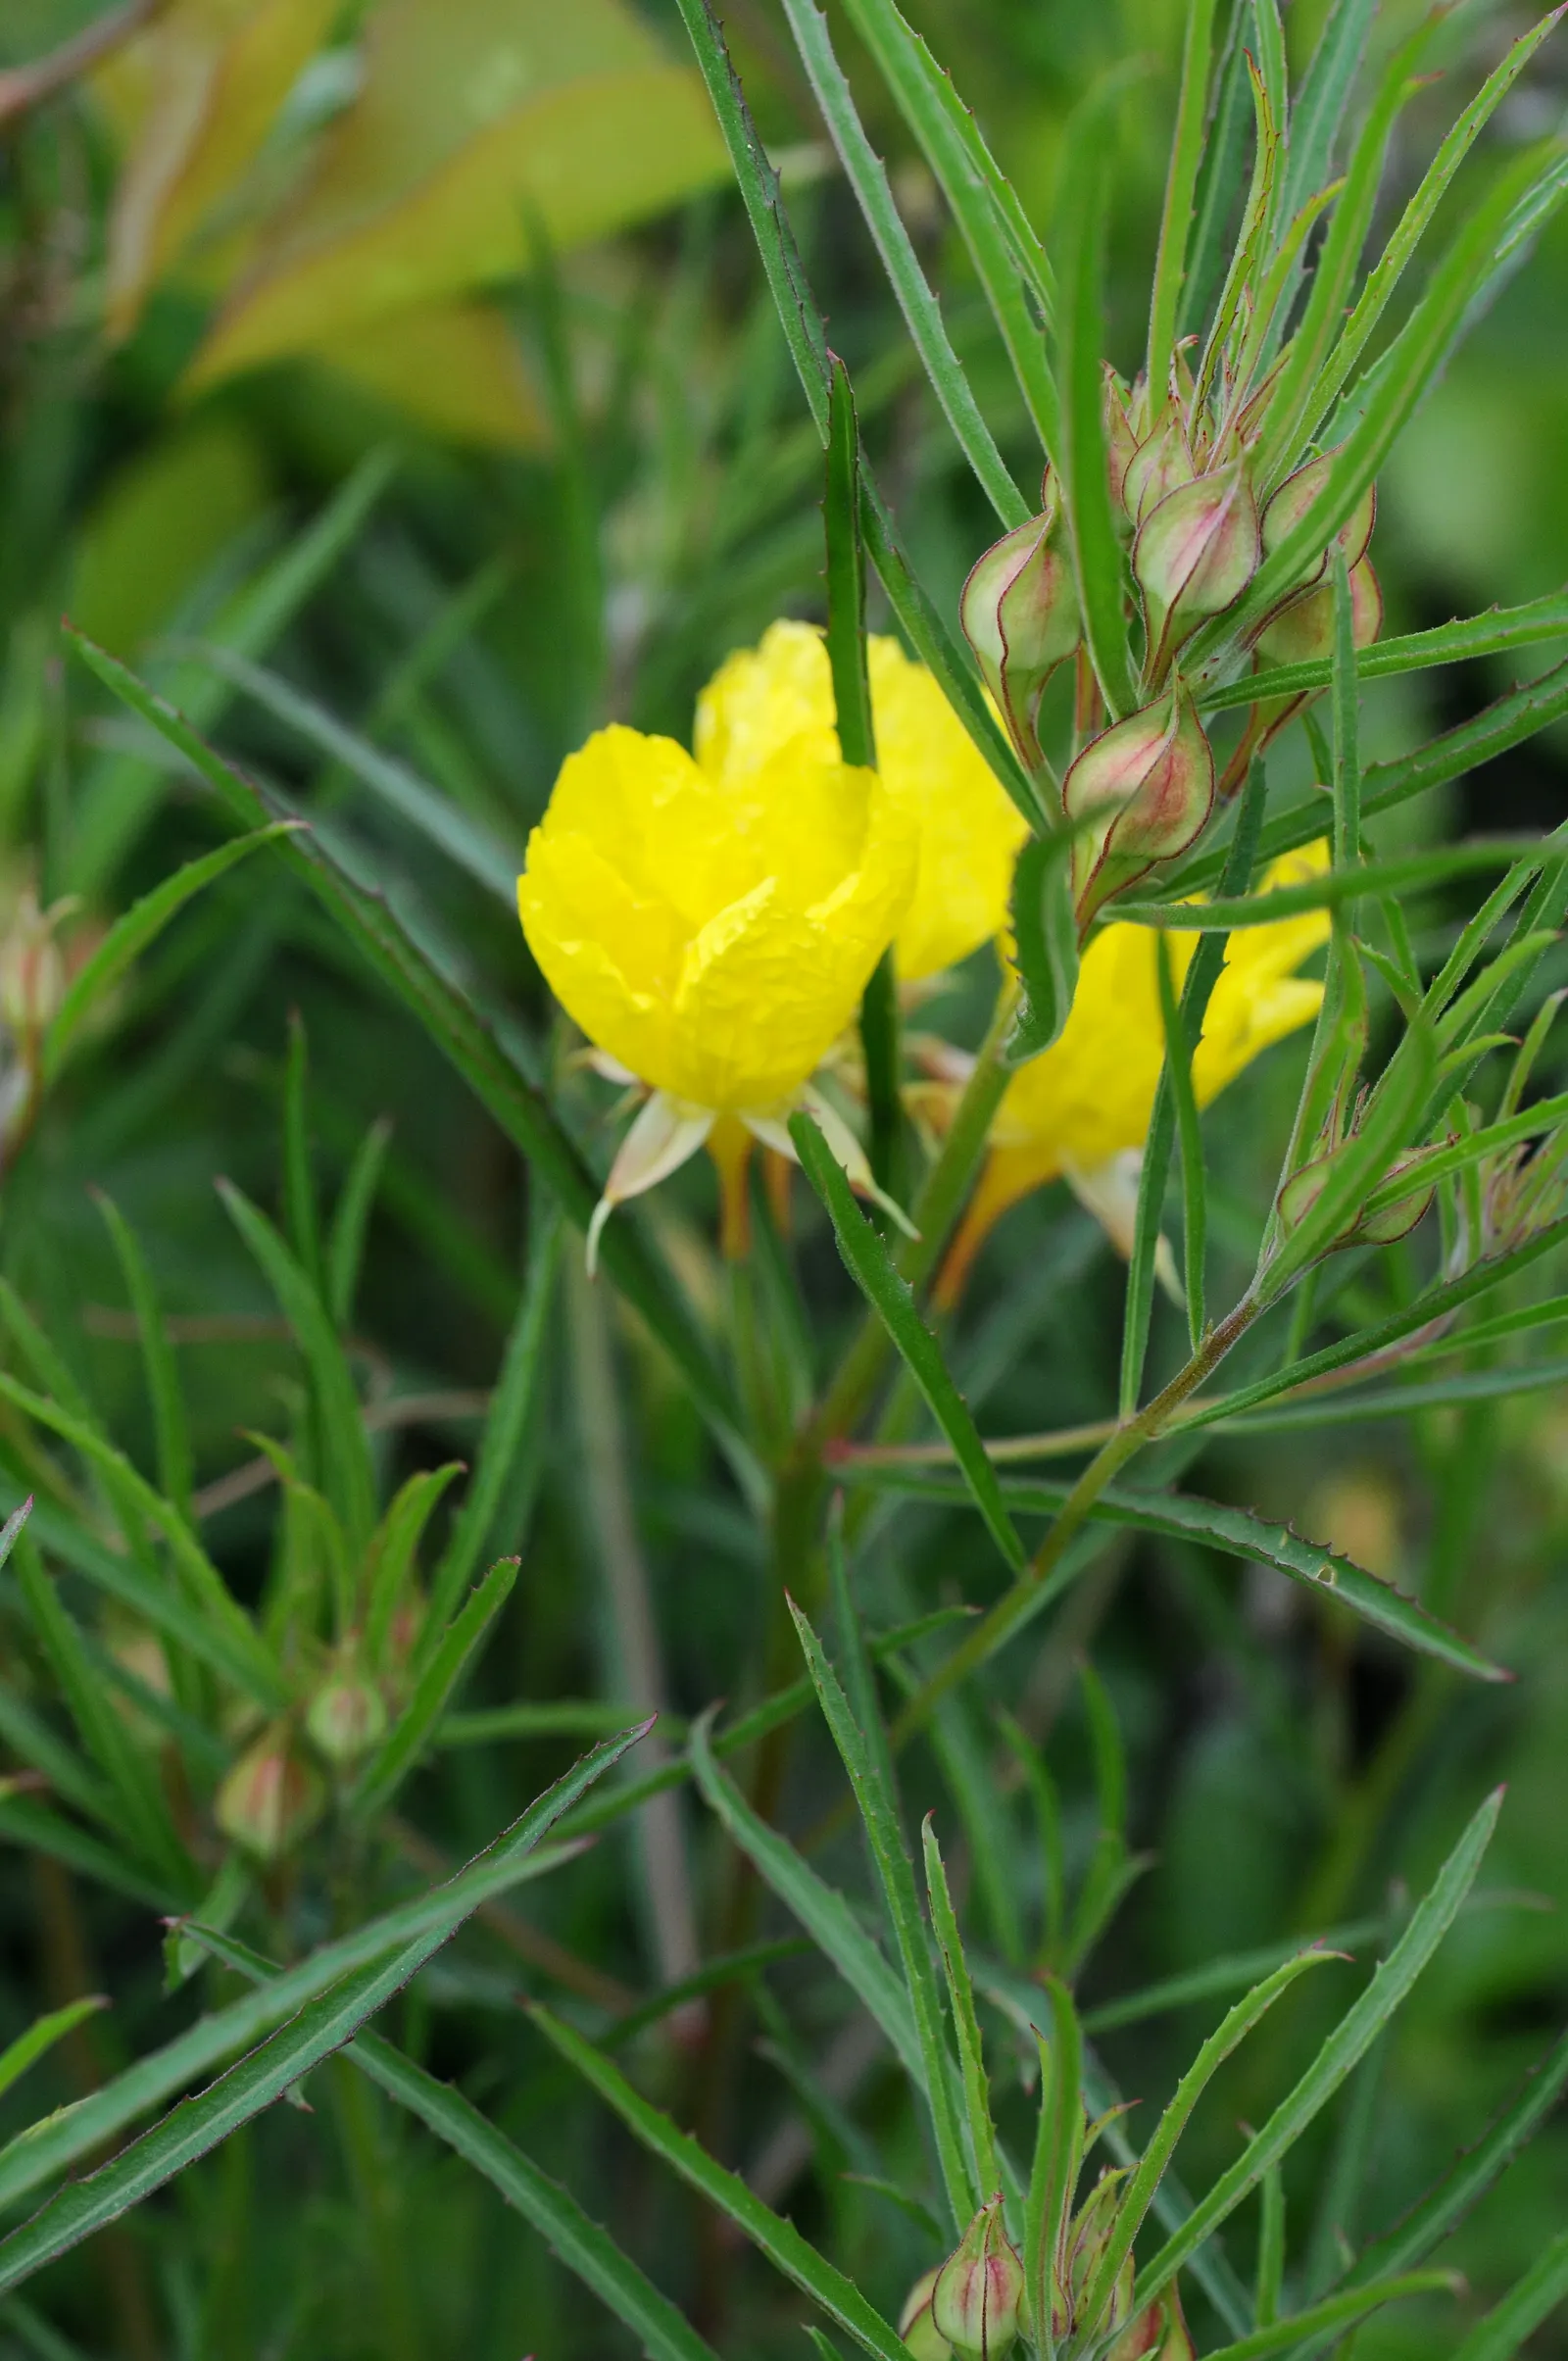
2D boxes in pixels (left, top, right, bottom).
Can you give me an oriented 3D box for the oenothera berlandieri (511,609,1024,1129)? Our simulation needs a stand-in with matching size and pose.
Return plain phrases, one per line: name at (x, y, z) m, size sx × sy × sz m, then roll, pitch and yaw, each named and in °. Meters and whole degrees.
oenothera berlandieri at (0.005, -0.046, 0.362) m, size 0.066 × 0.093 × 0.114 m, roll -1°, pitch 45°, yaw 7°
